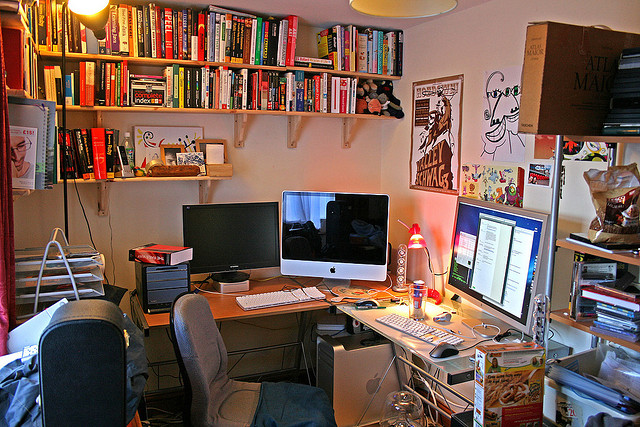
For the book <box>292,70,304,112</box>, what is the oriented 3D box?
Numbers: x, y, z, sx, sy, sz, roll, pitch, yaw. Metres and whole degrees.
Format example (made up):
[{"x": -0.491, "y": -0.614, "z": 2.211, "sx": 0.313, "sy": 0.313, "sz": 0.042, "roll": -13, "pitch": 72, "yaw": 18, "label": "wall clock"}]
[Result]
[{"x": -0.163, "y": -0.903, "z": 3.413, "sx": 0.083, "sy": 0.232, "sz": 0.252, "roll": -1, "pitch": 12, "yaw": -8, "label": "book"}]

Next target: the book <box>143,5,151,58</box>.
[{"x": -1.117, "y": -1.188, "z": 3.041, "sx": 0.039, "sy": 0.362, "sz": 0.269, "roll": -3, "pitch": 14, "yaw": -17, "label": "book"}]

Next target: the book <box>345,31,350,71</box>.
[{"x": 0.199, "y": -1.202, "z": 3.474, "sx": 0.039, "sy": 0.279, "sz": 0.020, "roll": -2, "pitch": 8, "yaw": 4, "label": "book"}]

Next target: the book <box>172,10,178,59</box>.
[{"x": -0.955, "y": -1.176, "z": 3.110, "sx": 0.051, "sy": 0.303, "sz": 0.022, "roll": -6, "pitch": 9, "yaw": -27, "label": "book"}]

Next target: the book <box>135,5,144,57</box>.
[{"x": -1.163, "y": -1.184, "z": 3.034, "sx": 0.041, "sy": 0.391, "sz": 0.290, "roll": -3, "pitch": 8, "yaw": -19, "label": "book"}]

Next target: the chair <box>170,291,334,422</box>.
[{"x": -0.307, "y": 0.778, "z": 2.818, "sx": 0.903, "sy": 0.758, "sz": 0.670, "roll": -3, "pitch": 2, "yaw": 0, "label": "chair"}]

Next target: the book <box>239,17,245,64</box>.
[{"x": -0.534, "y": -1.186, "z": 3.225, "sx": 0.051, "sy": 0.302, "sz": 0.012, "roll": -3, "pitch": 8, "yaw": -8, "label": "book"}]

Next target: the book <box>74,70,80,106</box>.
[{"x": -1.534, "y": -0.793, "z": 2.984, "sx": 0.045, "sy": 0.214, "sz": 0.019, "roll": -6, "pitch": 9, "yaw": -25, "label": "book"}]

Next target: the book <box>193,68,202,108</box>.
[{"x": -0.832, "y": -0.861, "z": 3.186, "sx": 0.086, "sy": 0.227, "sz": 0.239, "roll": -1, "pitch": 10, "yaw": -15, "label": "book"}]

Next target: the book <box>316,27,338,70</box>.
[{"x": 0.077, "y": -1.259, "z": 3.563, "sx": 0.099, "sy": 0.256, "sz": 0.276, "roll": -4, "pitch": 10, "yaw": -34, "label": "book"}]

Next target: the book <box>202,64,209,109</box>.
[{"x": -0.775, "y": -0.879, "z": 3.200, "sx": 0.040, "sy": 0.282, "sz": 0.252, "roll": -2, "pitch": 10, "yaw": -15, "label": "book"}]

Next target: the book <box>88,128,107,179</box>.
[{"x": -1.477, "y": -0.422, "z": 3.160, "sx": 0.116, "sy": 0.304, "sz": 0.319, "roll": -4, "pitch": 14, "yaw": -25, "label": "book"}]

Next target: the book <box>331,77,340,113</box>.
[{"x": 0.109, "y": -0.896, "z": 3.506, "sx": 0.086, "sy": 0.221, "sz": 0.239, "roll": 0, "pitch": 11, "yaw": -4, "label": "book"}]

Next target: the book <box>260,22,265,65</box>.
[{"x": -0.401, "y": -1.197, "z": 3.270, "sx": 0.036, "sy": 0.257, "sz": 0.225, "roll": 3, "pitch": 20, "yaw": -11, "label": "book"}]

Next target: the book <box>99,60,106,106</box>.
[{"x": -1.392, "y": -0.830, "z": 3.019, "sx": 0.038, "sy": 0.350, "sz": 0.272, "roll": -3, "pitch": 6, "yaw": -26, "label": "book"}]

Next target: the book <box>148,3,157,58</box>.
[{"x": -1.086, "y": -1.194, "z": 3.051, "sx": 0.039, "sy": 0.387, "sz": 0.291, "roll": -3, "pitch": 12, "yaw": -21, "label": "book"}]

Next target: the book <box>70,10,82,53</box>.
[{"x": -1.471, "y": -1.106, "z": 2.840, "sx": 0.065, "sy": 0.176, "sz": 0.191, "roll": -9, "pitch": 24, "yaw": -25, "label": "book"}]

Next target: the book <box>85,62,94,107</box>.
[{"x": -1.459, "y": -0.817, "z": 2.988, "sx": 0.075, "sy": 0.274, "sz": 0.021, "roll": -5, "pitch": 9, "yaw": -22, "label": "book"}]

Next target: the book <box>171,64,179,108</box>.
[{"x": -0.969, "y": -0.867, "z": 3.148, "sx": 0.039, "sy": 0.352, "sz": 0.264, "roll": -2, "pitch": 5, "yaw": -18, "label": "book"}]

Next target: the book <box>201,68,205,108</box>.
[{"x": -0.793, "y": -0.867, "z": 3.198, "sx": 0.031, "sy": 0.285, "sz": 0.229, "roll": -2, "pitch": 11, "yaw": -16, "label": "book"}]

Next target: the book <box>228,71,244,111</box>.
[{"x": -0.580, "y": -0.867, "z": 3.375, "sx": 0.140, "sy": 0.231, "sz": 0.256, "roll": 3, "pitch": 13, "yaw": -6, "label": "book"}]

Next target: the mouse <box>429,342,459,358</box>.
[{"x": 0.644, "y": 0.703, "z": 2.456, "sx": 0.112, "sy": 0.038, "sz": 0.071, "roll": -1, "pitch": 2, "yaw": -21, "label": "mouse"}]

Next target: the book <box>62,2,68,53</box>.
[{"x": -1.562, "y": -1.132, "z": 2.903, "sx": 0.028, "sy": 0.260, "sz": 0.023, "roll": -6, "pitch": 9, "yaw": -27, "label": "book"}]

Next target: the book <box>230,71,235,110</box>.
[{"x": -0.606, "y": -0.862, "z": 3.253, "sx": 0.032, "sy": 0.233, "sz": 0.209, "roll": 1, "pitch": 18, "yaw": -12, "label": "book"}]

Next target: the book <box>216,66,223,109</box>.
[{"x": -0.687, "y": -0.875, "z": 3.220, "sx": 0.032, "sy": 0.317, "sz": 0.247, "roll": -2, "pitch": 10, "yaw": -18, "label": "book"}]

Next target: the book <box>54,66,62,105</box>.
[{"x": -1.630, "y": -0.804, "z": 2.943, "sx": 0.039, "sy": 0.234, "sz": 0.042, "roll": -5, "pitch": 9, "yaw": -20, "label": "book"}]

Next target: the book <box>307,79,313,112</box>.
[{"x": -0.074, "y": -0.869, "z": 3.463, "sx": 0.045, "sy": 0.229, "sz": 0.011, "roll": -3, "pitch": 8, "yaw": -3, "label": "book"}]

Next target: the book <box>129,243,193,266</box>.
[{"x": -1.065, "y": 0.272, "z": 3.133, "sx": 0.368, "sy": 0.106, "sz": 0.231, "roll": 2, "pitch": 9, "yaw": 27, "label": "book"}]

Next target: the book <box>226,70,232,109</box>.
[{"x": -0.626, "y": -0.867, "z": 3.239, "sx": 0.031, "sy": 0.289, "sz": 0.214, "roll": 0, "pitch": 13, "yaw": -15, "label": "book"}]

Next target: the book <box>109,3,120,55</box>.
[{"x": -1.297, "y": -1.159, "z": 2.978, "sx": 0.063, "sy": 0.292, "sz": 0.027, "roll": -5, "pitch": 9, "yaw": -22, "label": "book"}]

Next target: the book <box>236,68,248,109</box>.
[{"x": -0.544, "y": -0.870, "z": 3.273, "sx": 0.033, "sy": 0.307, "sz": 0.249, "roll": -1, "pitch": 8, "yaw": -14, "label": "book"}]

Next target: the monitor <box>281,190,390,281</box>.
[{"x": 0.110, "y": 0.153, "z": 3.388, "sx": 0.632, "sy": 0.525, "sz": 0.224, "roll": 2, "pitch": 4, "yaw": 3, "label": "monitor"}]

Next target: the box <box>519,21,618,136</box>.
[{"x": 1.137, "y": -0.608, "z": 2.150, "sx": 0.523, "sy": 0.510, "sz": 0.205, "roll": 2, "pitch": 4, "yaw": -24, "label": "box"}]
